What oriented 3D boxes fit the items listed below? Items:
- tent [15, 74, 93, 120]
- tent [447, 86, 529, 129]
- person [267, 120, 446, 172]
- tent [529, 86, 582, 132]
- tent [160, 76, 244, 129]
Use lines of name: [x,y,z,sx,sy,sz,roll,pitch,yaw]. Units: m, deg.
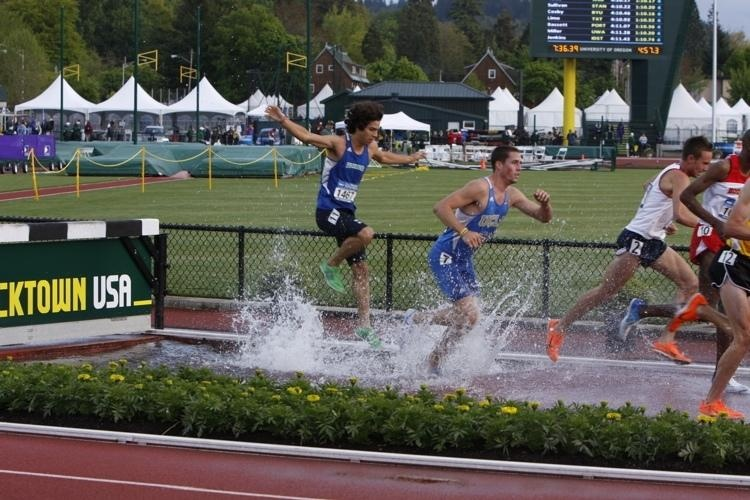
tent: [-17.365,-8.478,63.839,5.473,2.233,5.780,-1,1,7]
tent: [8.931,-10.505,83.658,7.638,3.471,2.742,-2,-2,14]
person: [-0.345,-1.625,14.877,2.108,0.896,0.523,3,23,-32]
tent: [12.178,-9.159,78.196,3.613,2.565,3.791,0,3,-9]
tent: [-10.112,-8.994,67.863,4.393,2.286,4.518,-7,11,-20]
